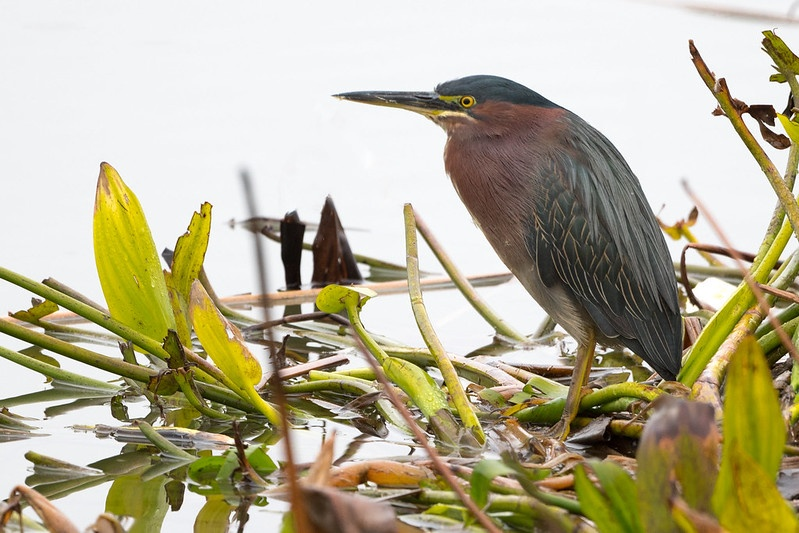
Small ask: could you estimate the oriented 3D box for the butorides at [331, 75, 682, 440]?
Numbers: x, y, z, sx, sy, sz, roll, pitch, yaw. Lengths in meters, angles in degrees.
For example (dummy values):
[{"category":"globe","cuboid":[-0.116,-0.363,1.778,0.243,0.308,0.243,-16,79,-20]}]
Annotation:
[{"category":"butorides","cuboid":[0.170,-0.093,2.146,0.890,1.002,0.391,-2,-4,-4]}]
